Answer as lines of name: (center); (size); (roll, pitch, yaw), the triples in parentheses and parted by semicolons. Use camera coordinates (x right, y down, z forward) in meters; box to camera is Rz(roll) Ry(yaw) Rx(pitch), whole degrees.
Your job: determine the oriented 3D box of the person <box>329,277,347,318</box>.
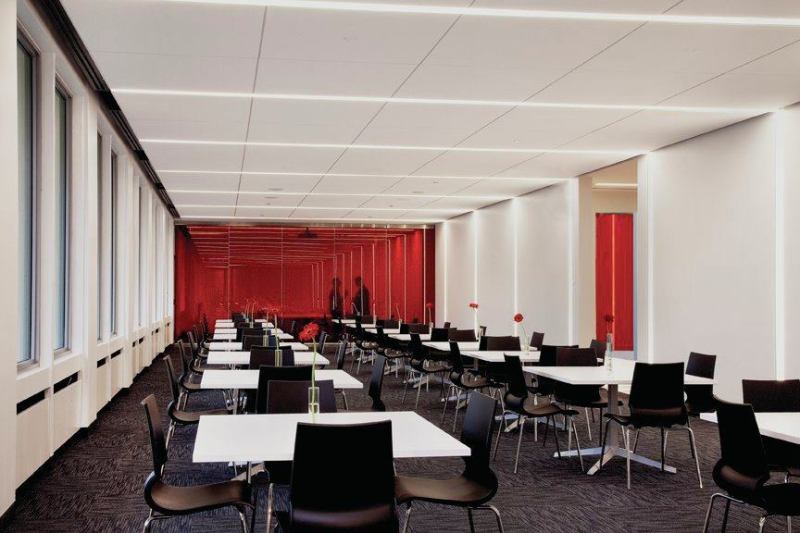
person: (-2.139, 1.046, 18.958); (0.529, 1.362, 0.191); (3, -3, -32)
